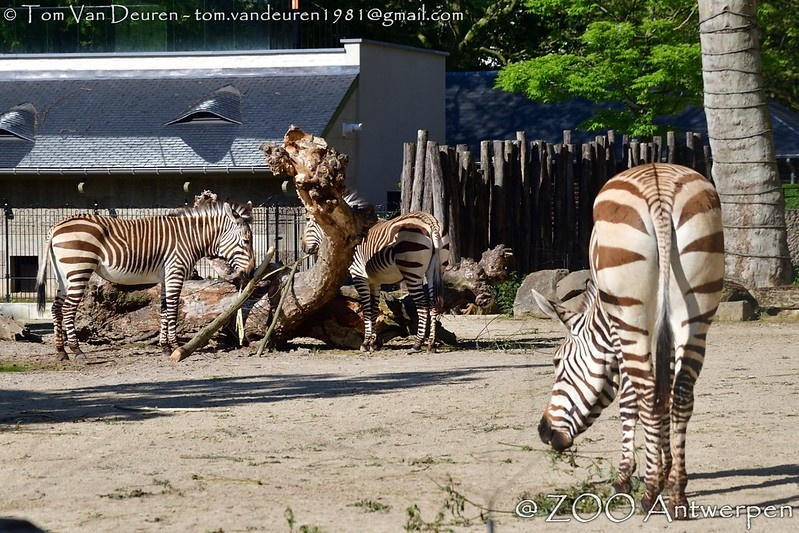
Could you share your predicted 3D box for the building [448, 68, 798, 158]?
[{"bbox_3d":[5.254,-4.608,49.269,6.195,1.799,4.510,2,5,13],"label":"building"}]
